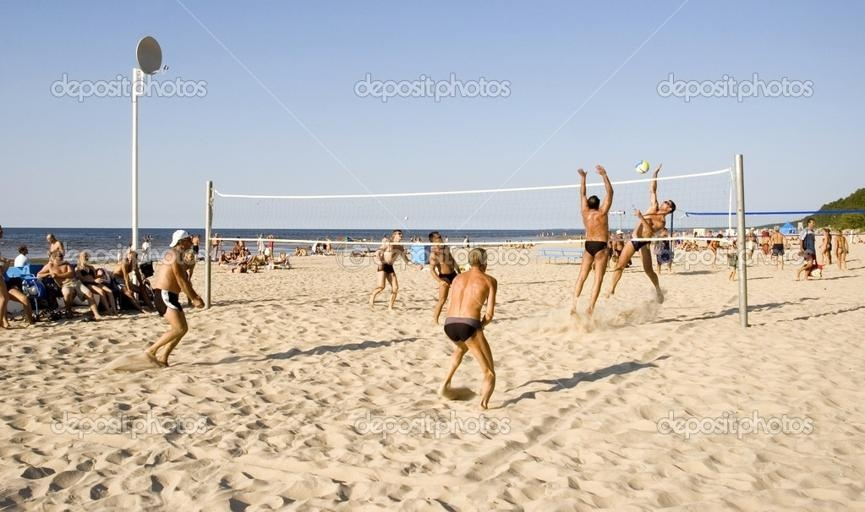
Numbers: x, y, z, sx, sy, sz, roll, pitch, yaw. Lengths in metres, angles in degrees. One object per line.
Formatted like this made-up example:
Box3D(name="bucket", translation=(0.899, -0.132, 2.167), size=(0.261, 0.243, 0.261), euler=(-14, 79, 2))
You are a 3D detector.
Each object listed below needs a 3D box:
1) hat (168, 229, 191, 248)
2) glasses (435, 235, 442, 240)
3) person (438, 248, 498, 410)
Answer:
Box3D(name="hat", translation=(-3.509, -0.252, 9.602), size=(0.247, 0.244, 0.375), euler=(-2, 2, -21))
Box3D(name="glasses", translation=(0.088, -0.311, 10.997), size=(0.097, 0.092, 0.072), euler=(-9, 11, 12))
Box3D(name="person", translation=(0.412, 0.866, 8.478), size=(0.713, 1.929, 0.754), euler=(-2, 2, 0))
